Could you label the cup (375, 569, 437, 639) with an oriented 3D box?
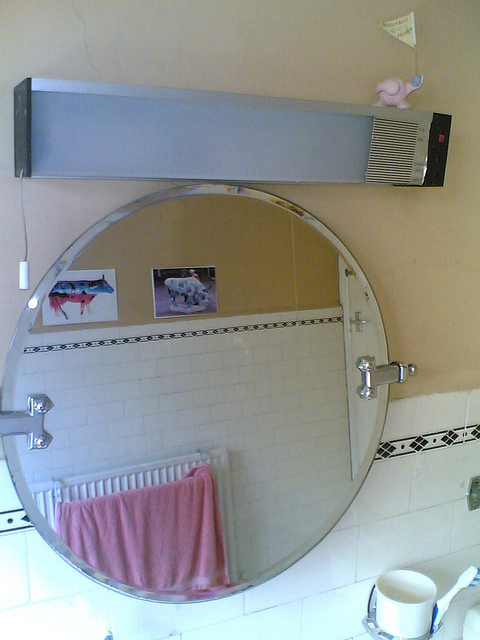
[{"bbox_3d":[0.355,0.605,1.179,0.087,0.093,0.122,0,7,1],"label":"cup"}]
